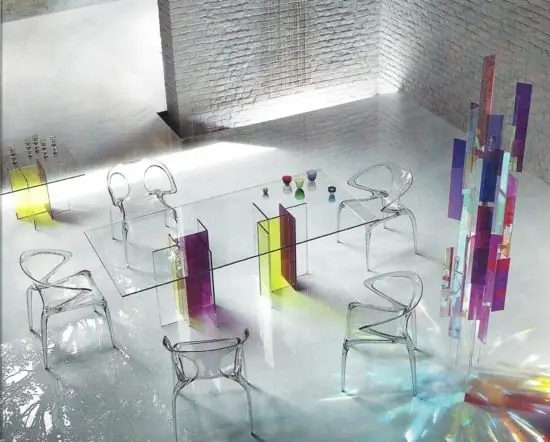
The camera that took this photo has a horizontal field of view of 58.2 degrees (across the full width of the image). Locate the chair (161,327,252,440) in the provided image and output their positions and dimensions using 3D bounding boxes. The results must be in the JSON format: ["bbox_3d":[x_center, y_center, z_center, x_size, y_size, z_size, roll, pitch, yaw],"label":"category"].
[{"bbox_3d":[-0.463,1.143,3.367,0.521,0.694,0.511,-4,46,-7],"label":"chair"}]

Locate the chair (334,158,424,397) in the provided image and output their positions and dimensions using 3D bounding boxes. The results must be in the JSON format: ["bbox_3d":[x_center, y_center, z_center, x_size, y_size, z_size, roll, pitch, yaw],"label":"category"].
[{"bbox_3d":[0.886,0.515,4.192,0.688,0.647,2.077,2,45,7],"label":"chair"}]

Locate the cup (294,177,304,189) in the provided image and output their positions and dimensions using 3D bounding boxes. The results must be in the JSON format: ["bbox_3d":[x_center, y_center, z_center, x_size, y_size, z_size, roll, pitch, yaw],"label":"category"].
[{"bbox_3d":[0.214,-0.326,4.346,0.093,0.076,0.090,-4,25,2],"label":"cup"}]

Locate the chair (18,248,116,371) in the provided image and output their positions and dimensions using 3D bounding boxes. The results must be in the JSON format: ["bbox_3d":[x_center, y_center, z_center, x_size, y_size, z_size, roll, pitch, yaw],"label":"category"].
[{"bbox_3d":[-1.708,0.762,4.052,0.528,0.677,0.515,-13,49,-23],"label":"chair"}]

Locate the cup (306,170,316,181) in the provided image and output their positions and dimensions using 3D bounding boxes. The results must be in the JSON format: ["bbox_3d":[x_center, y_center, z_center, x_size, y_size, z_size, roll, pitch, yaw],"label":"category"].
[{"bbox_3d":[0.328,-0.405,4.465,0.081,0.075,0.087,0,22,0],"label":"cup"}]

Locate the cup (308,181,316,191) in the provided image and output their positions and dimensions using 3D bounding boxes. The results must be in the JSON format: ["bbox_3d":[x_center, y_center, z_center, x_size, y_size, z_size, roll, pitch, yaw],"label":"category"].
[{"bbox_3d":[0.330,-0.302,4.379,0.071,0.075,0.079,-6,15,-16],"label":"cup"}]

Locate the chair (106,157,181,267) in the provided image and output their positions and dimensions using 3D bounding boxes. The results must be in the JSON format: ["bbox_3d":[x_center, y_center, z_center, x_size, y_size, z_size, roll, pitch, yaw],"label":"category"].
[{"bbox_3d":[-1.216,-0.074,4.520,0.698,0.930,0.653,-15,40,-19],"label":"chair"}]

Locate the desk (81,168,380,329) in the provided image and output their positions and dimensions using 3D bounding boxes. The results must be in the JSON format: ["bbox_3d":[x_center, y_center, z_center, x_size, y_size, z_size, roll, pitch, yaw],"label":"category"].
[{"bbox_3d":[-0.253,0.284,4.107,1.946,0.682,0.906,-15,31,-11],"label":"desk"}]

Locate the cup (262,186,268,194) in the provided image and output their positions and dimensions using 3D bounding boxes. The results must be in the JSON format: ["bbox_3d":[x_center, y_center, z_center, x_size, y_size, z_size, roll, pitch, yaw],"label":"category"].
[{"bbox_3d":[-0.079,-0.269,4.351,0.052,0.048,0.053,-2,30,1],"label":"cup"}]
